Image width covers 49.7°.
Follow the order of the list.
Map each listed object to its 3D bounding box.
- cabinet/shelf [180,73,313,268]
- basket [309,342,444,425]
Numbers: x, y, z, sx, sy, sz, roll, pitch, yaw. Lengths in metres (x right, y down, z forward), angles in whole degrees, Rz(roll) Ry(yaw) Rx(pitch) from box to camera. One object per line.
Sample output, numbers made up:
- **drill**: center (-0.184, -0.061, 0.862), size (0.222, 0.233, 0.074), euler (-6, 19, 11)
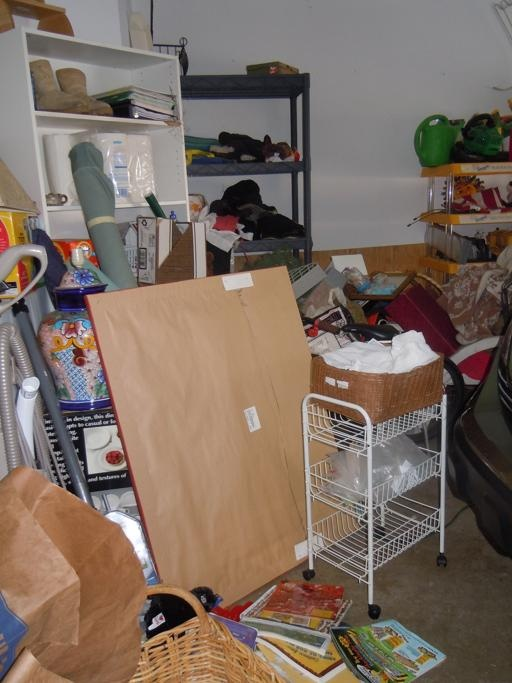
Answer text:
- **cabinet/shelf**: center (-0.072, -1.341, 4.365), size (0.959, 1.359, 1.073), euler (0, 12, -1)
- **basket**: center (0.407, 0.129, 1.881), size (0.341, 0.159, 0.460), euler (9, 13, 39)
